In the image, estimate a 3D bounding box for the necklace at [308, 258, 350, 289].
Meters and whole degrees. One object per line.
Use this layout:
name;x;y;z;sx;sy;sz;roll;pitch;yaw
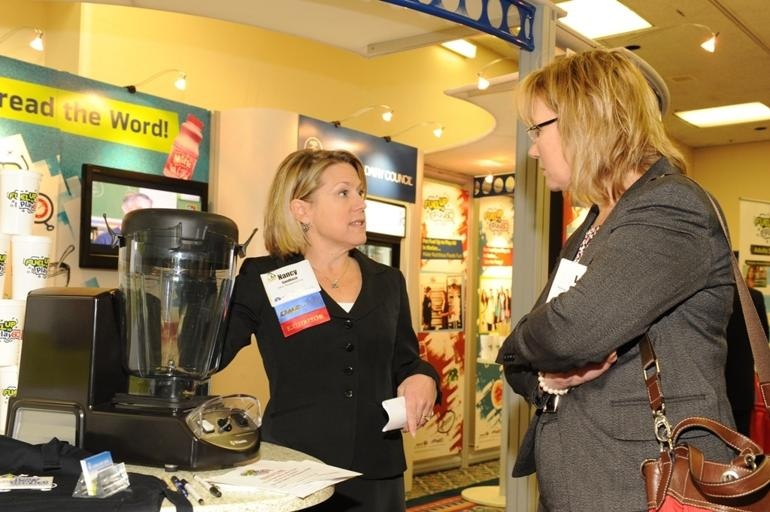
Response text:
necklace;-0.226;0.081;2.343;0.131;0.121;0.032;-3;-32;-48

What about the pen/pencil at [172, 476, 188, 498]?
pen/pencil;-0.545;0.610;1.529;0.025;0.019;0.079;-5;17;-27

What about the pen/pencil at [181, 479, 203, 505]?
pen/pencil;-0.495;0.616;1.488;0.026;0.019;0.135;-2;6;-25

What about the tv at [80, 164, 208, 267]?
tv;-1.258;-0.217;2.856;0.735;0.484;0.075;4;-6;-42

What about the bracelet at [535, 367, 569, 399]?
bracelet;0.510;0.385;1.754;0.071;0.028;0.069;17;13;-5
